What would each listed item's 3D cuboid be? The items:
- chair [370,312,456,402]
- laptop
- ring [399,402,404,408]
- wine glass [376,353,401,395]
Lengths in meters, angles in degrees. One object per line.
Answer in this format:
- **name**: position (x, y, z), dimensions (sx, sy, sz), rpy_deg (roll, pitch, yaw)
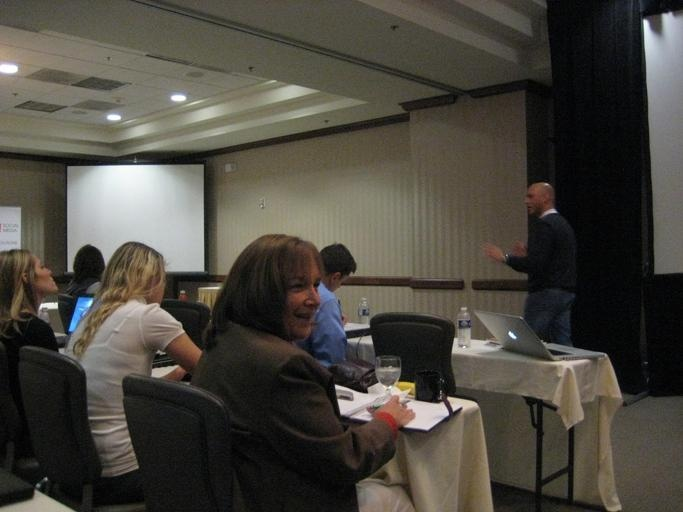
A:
- **chair**: position (0.520, 0.588, 3.280), dimensions (0.418, 0.633, 0.485), rpy_deg (0, -5, 29)
- **laptop**: position (1.144, 0.474, 3.123), dimensions (0.392, 0.211, 0.408), rpy_deg (-1, 0, -24)
- **ring**: position (0.242, 0.591, 2.142), dimensions (0.022, 0.013, 0.031), rpy_deg (2, -3, -4)
- **wine glass**: position (0.209, 0.554, 2.419), dimensions (0.117, 0.201, 0.120), rpy_deg (-1, -11, -11)
